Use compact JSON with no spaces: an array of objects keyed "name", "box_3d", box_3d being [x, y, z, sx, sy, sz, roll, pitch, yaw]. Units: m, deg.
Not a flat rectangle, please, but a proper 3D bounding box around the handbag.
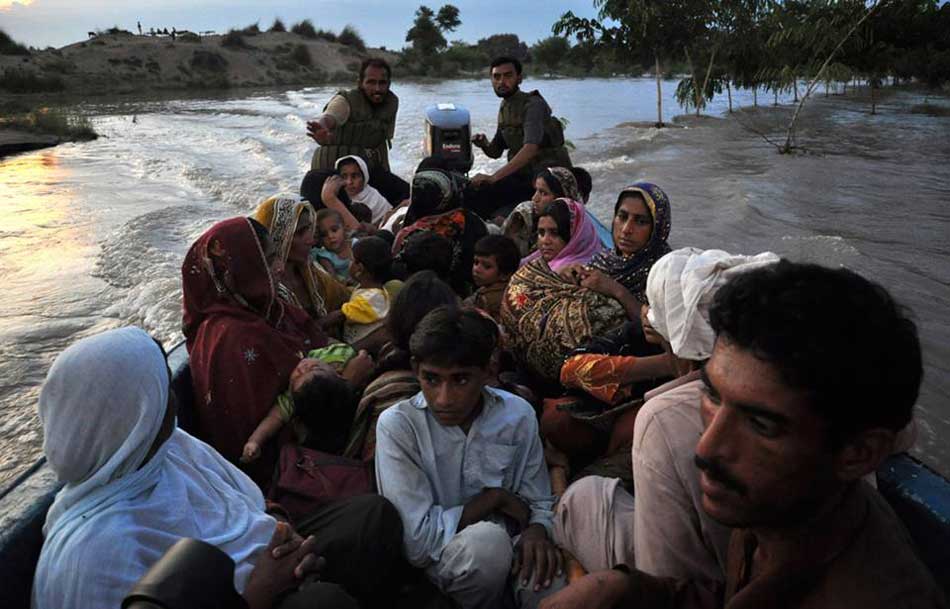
[{"name":"handbag","box_3d":[-0.694,0.751,2.691,0.305,0.111,0.226,7,5,3]}]
